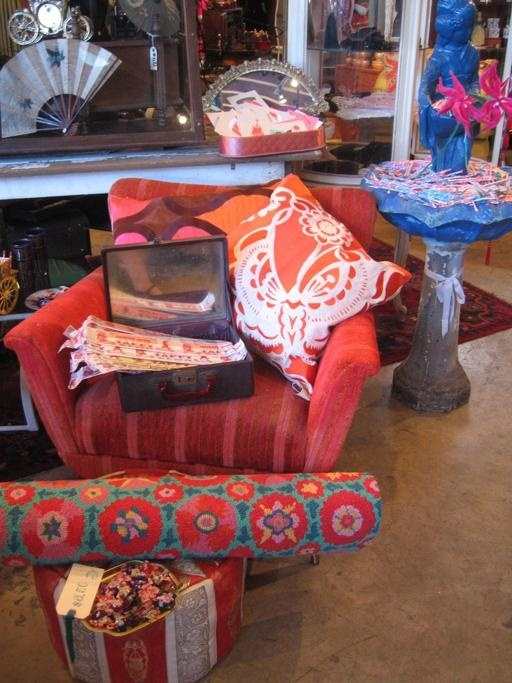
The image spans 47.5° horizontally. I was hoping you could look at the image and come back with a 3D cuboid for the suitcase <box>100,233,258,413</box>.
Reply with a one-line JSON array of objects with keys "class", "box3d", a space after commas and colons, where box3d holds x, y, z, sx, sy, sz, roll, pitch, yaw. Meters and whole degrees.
[{"class": "suitcase", "box3d": [-0.181, -0.045, 1.296, 0.357, 0.270, 0.333, -21, 38, -28]}]
